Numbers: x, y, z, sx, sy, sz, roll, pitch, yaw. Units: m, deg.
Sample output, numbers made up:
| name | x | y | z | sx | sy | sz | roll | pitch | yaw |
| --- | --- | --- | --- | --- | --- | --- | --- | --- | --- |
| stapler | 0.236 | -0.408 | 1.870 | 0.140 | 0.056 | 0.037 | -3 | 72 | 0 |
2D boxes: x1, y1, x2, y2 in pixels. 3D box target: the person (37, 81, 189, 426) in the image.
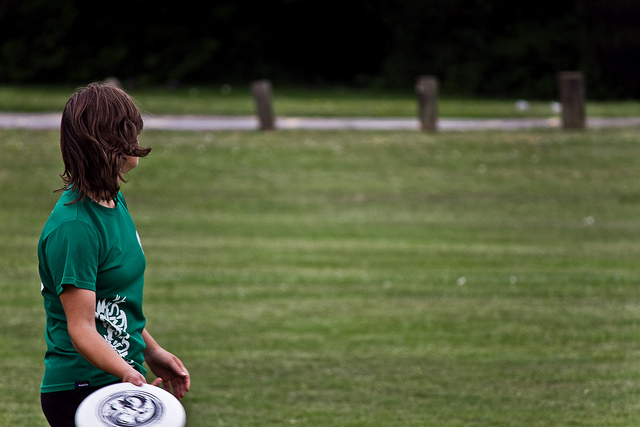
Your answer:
| name | x | y | z | sx | sy | sz | roll | pitch | yaw |
| --- | --- | --- | --- | --- | --- | --- | --- | --- | --- |
| person | -2.427 | 0.423 | 19.846 | 1.297 | 3.569 | 0.625 | -6 | 7 | -6 |
